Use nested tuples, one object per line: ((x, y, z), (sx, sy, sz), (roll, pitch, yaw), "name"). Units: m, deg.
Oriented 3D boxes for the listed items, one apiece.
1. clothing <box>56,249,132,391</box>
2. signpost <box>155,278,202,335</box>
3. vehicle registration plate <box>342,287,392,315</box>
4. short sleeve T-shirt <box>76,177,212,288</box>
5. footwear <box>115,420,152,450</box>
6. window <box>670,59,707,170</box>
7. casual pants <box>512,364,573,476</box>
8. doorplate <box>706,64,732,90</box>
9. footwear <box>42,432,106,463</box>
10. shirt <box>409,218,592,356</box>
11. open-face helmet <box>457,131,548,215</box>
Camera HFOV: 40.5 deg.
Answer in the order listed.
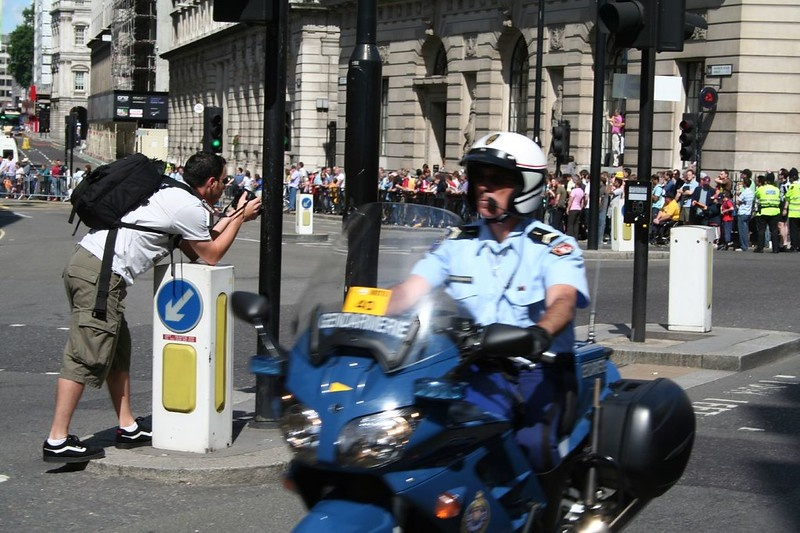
((-2.244, 0.365, 7.998), (0.456, 1.014, 0.293), (-1, 9, -7), "clothing")
((-1.683, 0.305, 8.200), (0.039, 0.402, 0.435), (-10, -11, 40), "signpost")
((-0.173, 0.180, 5.783), (0.171, 0.040, 0.179), (1, 27, 7), "vehicle registration plate")
((-1.906, -0.259, 8.076), (0.769, 0.446, 0.776), (-33, 20, -19), "short sleeve T-shirt")
((-2.048, 1.325, 8.538), (0.331, 0.167, 0.149), (-7, 10, -44), "footwear")
((8.173, -4.369, 30.808), (0.648, 3.048, 1.059), (2, 9, 8), "window")
((0.802, 0.859, 6.115), (0.230, 0.549, 0.351), (-1, -6, 18), "casual pants")
((8.594, -5.162, 29.279), (0.947, 0.759, 0.281), (1, -8, 6), "doorplate")
((-2.395, 1.350, 8.098), (0.468, 0.194, 0.185), (-2, 8, -14), "footwear")
((0.651, 0.034, 6.484), (1.311, 0.968, 0.697), (0, -3, 12), "shirt")
((0.679, -0.550, 6.333), (0.557, 0.412, 0.414), (3, -2, -44), "open-face helmet")
